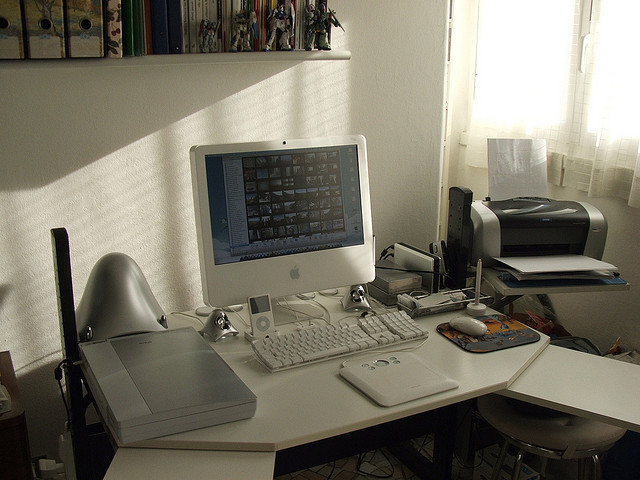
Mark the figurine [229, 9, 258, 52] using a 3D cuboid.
[{"bbox_3d":[-0.292,-0.788,1.957,0.114,0.149,0.047,-5,15,-9],"label":"figurine"}]

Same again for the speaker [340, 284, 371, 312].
[{"bbox_3d":[0.135,0.222,1.978,0.096,0.075,0.099,0,20,0],"label":"speaker"}]

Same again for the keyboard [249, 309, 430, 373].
[{"bbox_3d":[0.078,0.328,1.724,0.594,0.058,0.150,-8,16,-19],"label":"keyboard"}]

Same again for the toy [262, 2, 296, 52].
[{"bbox_3d":[-0.165,-0.825,1.993,0.142,0.224,0.089,-6,17,-29],"label":"toy"}]

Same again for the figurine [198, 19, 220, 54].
[{"bbox_3d":[-0.414,-0.754,1.914,0.086,0.140,0.044,-12,29,-31],"label":"figurine"}]

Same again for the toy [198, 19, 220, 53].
[{"bbox_3d":[-0.415,-0.756,1.913,0.087,0.144,0.046,-11,28,-31],"label":"toy"}]

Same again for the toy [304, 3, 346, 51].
[{"bbox_3d":[0.002,-0.846,2.059,0.139,0.174,0.066,-3,15,-2],"label":"toy"}]

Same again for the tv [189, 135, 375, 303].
[{"bbox_3d":[-0.125,-0.070,1.825,0.551,0.500,0.049,-11,10,-20],"label":"tv"}]

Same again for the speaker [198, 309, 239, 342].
[{"bbox_3d":[-0.355,0.294,1.798,0.102,0.085,0.102,8,15,34],"label":"speaker"}]

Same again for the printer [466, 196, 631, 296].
[{"bbox_3d":[0.873,0.004,2.068,0.555,0.291,0.430,-1,15,6],"label":"printer"}]
